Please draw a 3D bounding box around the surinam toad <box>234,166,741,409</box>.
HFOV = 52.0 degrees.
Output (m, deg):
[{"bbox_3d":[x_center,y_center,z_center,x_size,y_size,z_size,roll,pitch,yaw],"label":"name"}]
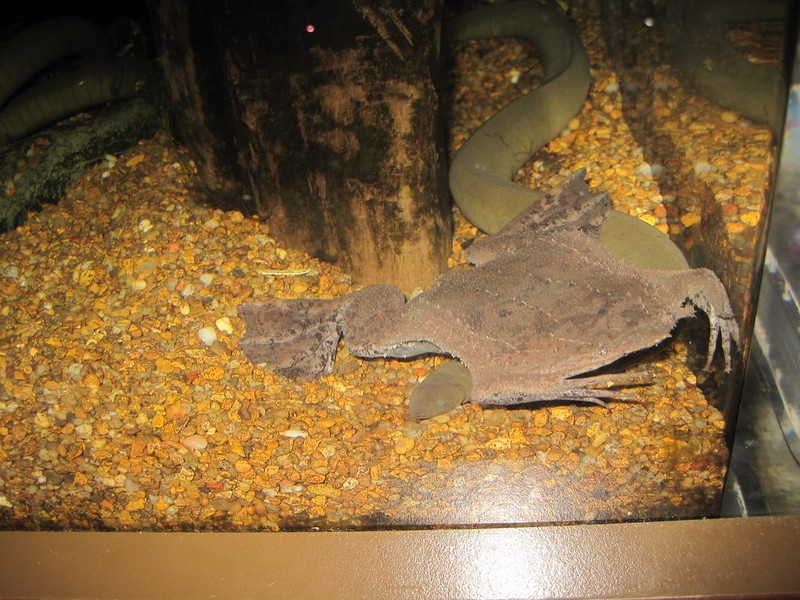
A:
[{"bbox_3d":[0.357,-0.040,3.200,1.760,0.410,1.444,13,27,11],"label":"surinam toad"}]
